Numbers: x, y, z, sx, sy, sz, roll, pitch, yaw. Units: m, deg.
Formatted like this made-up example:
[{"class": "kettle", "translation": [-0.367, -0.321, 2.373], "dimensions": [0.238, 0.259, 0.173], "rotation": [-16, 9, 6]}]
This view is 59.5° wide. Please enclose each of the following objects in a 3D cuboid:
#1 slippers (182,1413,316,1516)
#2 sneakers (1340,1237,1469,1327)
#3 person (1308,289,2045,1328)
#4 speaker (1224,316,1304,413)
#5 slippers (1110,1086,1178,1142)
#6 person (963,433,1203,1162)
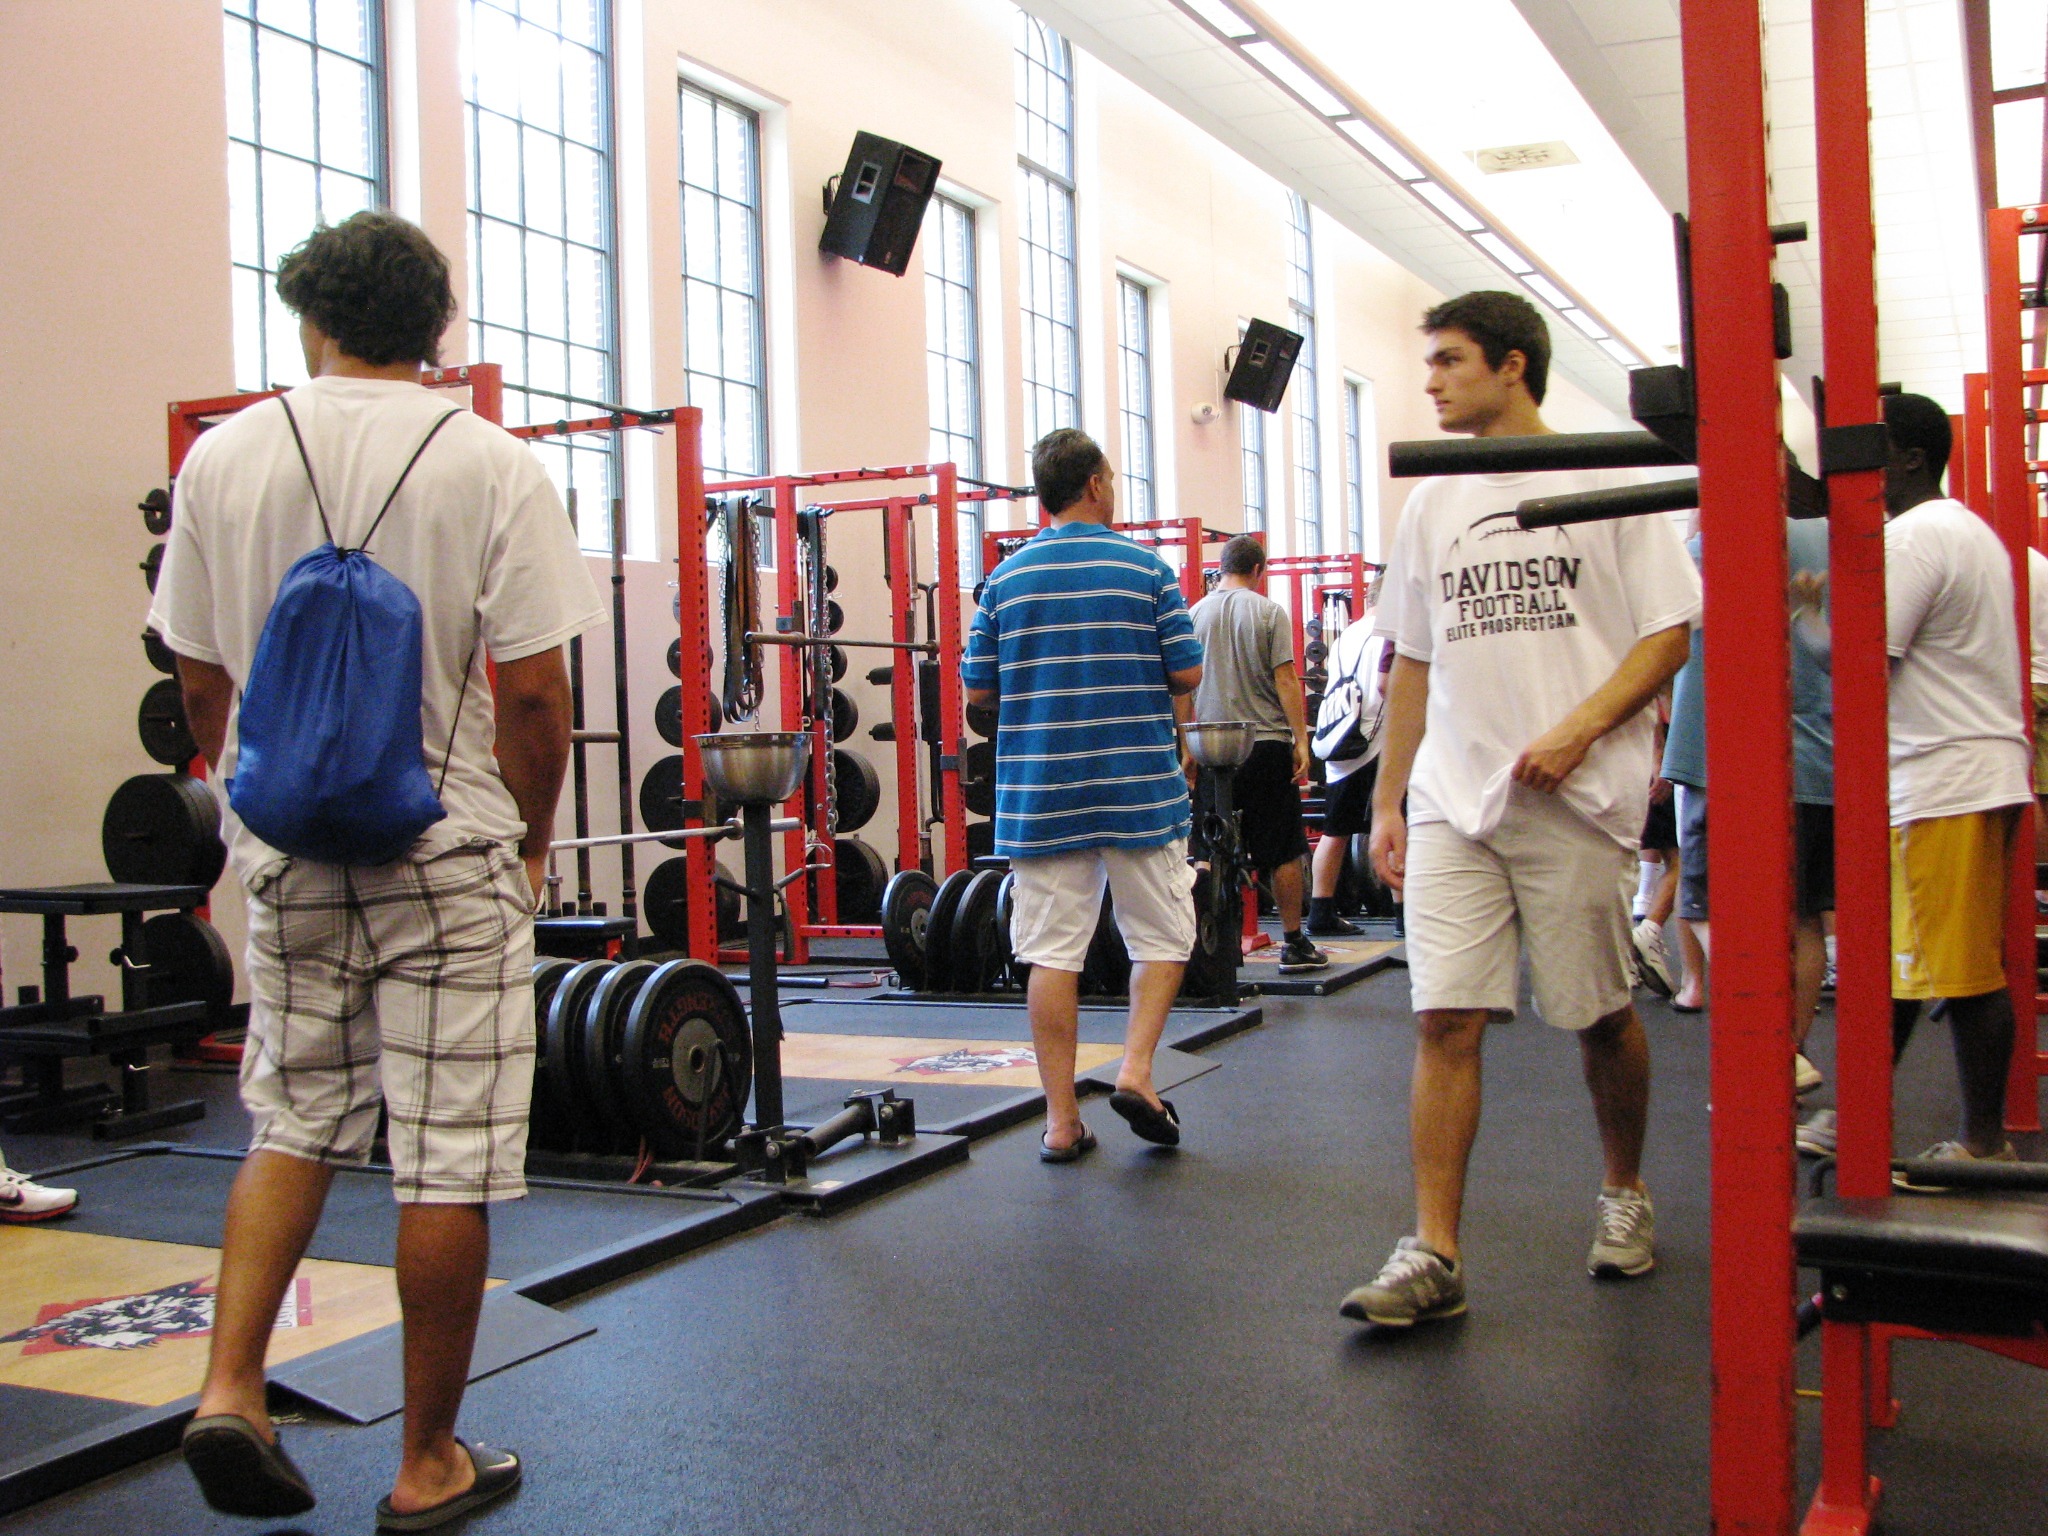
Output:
[{"class": "slippers", "translation": [-1.072, 0.950, 2.490], "dimensions": [0.101, 0.203, 0.077], "rotation": [-15, 37, 8]}, {"class": "sneakers", "translation": [0.676, 0.922, 3.208], "dimensions": [0.108, 0.137, 0.262], "rotation": [-12, -17, 43]}, {"class": "person", "translation": [0.913, 0.212, 3.292], "dimensions": [0.664, 1.810, 0.479], "rotation": [-3, 0, 10]}, {"class": "speaker", "translation": [1.845, -3.125, 14.024], "dimensions": [0.572, 0.712, 0.706], "rotation": [-3, -1, 7]}, {"class": "slippers", "translation": [0.298, 0.843, 4.413], "dimensions": [0.091, 0.239, 0.087], "rotation": [5, 46, 29]}, {"class": "person", "translation": [0.155, 0.044, 4.486], "dimensions": [0.601, 1.738, 0.348], "rotation": [-3, 0, 0]}]
